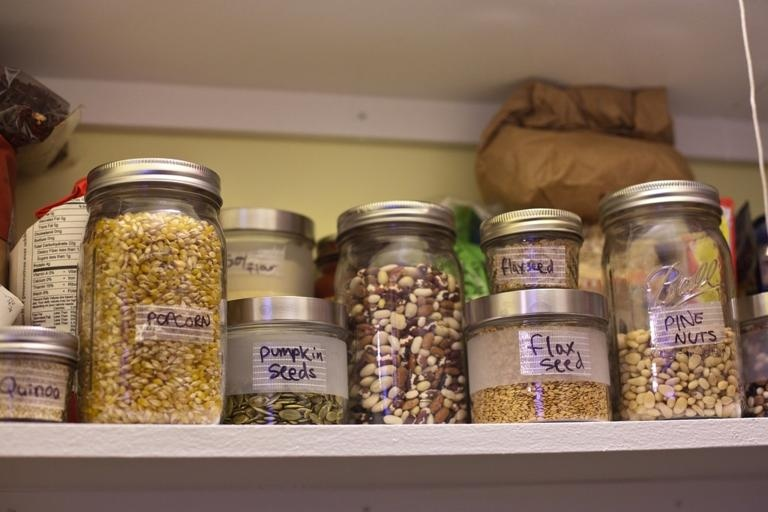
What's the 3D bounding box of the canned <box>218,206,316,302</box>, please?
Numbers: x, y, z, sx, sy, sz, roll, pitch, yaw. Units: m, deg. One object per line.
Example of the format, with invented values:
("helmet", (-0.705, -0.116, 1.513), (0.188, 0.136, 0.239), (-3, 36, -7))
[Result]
("canned", (-0.209, 0.011, 1.420), (0.171, 0.179, 0.171), (-5, -11, 24))
